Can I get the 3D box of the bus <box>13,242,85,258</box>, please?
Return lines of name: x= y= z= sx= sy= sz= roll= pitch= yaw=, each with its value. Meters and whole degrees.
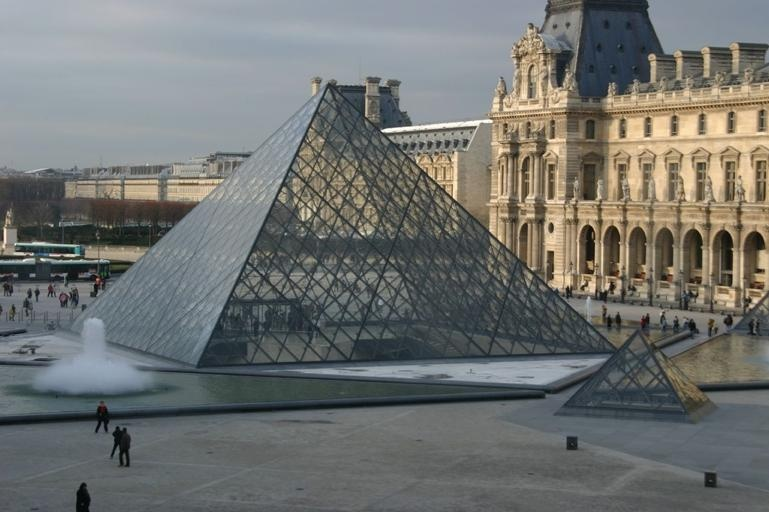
bus: x=-24.595 y=-0.489 z=113.293 sx=5.186 sy=1.121 sz=1.204 roll=0 pitch=5 yaw=3

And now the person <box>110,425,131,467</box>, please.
person: x=-7.869 y=5.626 z=46.388 sx=0.561 sy=1.113 sz=1.097 roll=2 pitch=1 yaw=-10

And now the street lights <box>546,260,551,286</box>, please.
street lights: x=9.644 y=0.881 z=89.693 sx=0.329 sy=1.264 sz=0.413 roll=2 pitch=1 yaw=5

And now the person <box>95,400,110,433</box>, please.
person: x=-8.932 y=5.021 z=49.206 sx=0.461 sy=0.916 sz=1.586 roll=2 pitch=1 yaw=-10
